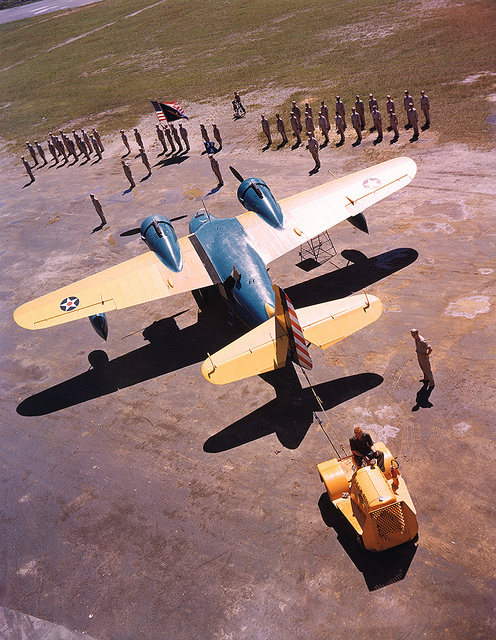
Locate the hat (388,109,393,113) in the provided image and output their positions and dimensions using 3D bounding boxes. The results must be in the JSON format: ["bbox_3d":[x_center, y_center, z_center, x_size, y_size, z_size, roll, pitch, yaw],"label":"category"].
[{"bbox_3d":[7.073,-10.386,27.747,0.148,0.158,0.263,-30,28,-22],"label":"hat"}]

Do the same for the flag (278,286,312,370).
[{"bbox_3d":[1.475,0.204,13.381,0.682,1.741,1.071,-17,-9,12],"label":"flag"}]

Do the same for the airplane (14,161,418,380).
[{"bbox_3d":[0.047,-1.708,18.359,9.455,4.502,11.451,-5,27,24],"label":"airplane"}]

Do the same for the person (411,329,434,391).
[{"bbox_3d":[4.564,1.107,14.618,0.539,1.671,0.686,-20,41,5],"label":"person"}]

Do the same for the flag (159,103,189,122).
[{"bbox_3d":[-4.724,-13.009,34.854,1.394,1.097,0.537,6,38,41],"label":"flag"}]

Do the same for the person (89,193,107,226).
[{"bbox_3d":[-7.273,-5.397,27.348,0.443,1.264,1.380,-23,4,-13],"label":"person"}]

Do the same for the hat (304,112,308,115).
[{"bbox_3d":[3.235,-11.270,30.499,0.106,0.121,0.171,-14,25,11],"label":"hat"}]

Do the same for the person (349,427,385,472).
[{"bbox_3d":[2.571,2.824,12.009,0.520,0.967,0.527,-45,40,7],"label":"person"}]
